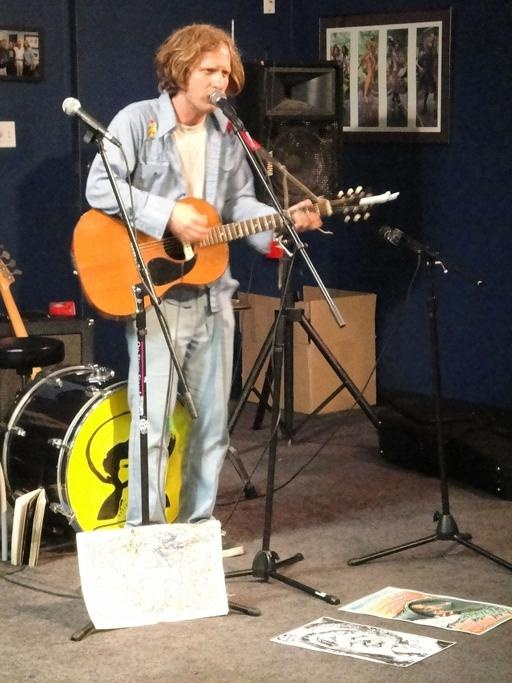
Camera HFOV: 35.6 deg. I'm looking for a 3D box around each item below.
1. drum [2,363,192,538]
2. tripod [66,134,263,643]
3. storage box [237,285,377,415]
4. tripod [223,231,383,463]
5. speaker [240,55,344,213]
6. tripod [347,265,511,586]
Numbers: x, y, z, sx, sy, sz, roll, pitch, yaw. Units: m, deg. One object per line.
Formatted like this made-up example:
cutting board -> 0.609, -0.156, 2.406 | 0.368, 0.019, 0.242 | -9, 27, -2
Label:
drum -> -0.436, 0.314, 2.239 | 0.504, 0.455, 0.344 | -10, 19, -39
tripod -> -0.251, 0.279, 1.837 | 0.431, 0.956, 0.374 | -8, 7, -8
storage box -> 0.223, 0.045, 4.346 | 0.693, 0.718, 0.843 | -3, 5, -38
tripod -> 0.064, -0.020, 3.462 | 0.635, 0.833, 0.656 | -5, -5, 44
speaker -> 0.123, -0.933, 3.628 | 0.469, 0.639, 0.448 | -12, 20, -32
tripod -> 0.585, 0.191, 2.618 | 0.456, 0.862, 0.860 | 0, 5, 14
